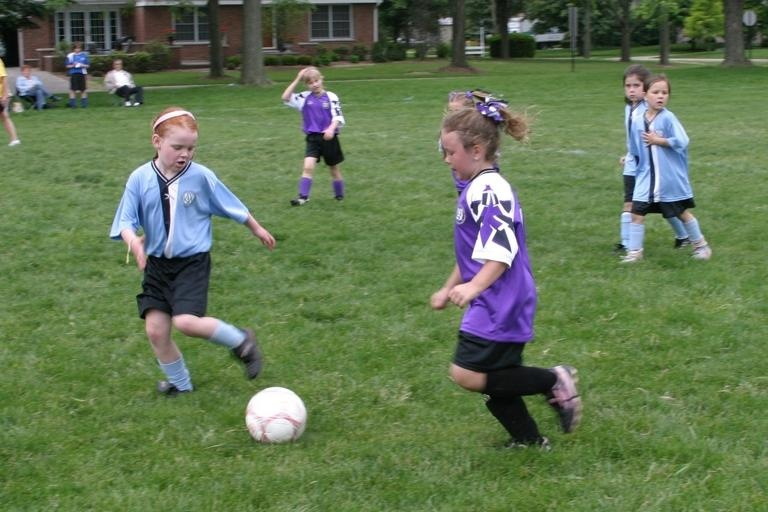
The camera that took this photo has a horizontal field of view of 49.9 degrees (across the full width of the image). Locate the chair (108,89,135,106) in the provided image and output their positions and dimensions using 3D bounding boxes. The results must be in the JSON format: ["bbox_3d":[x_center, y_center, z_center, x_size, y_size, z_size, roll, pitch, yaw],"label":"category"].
[{"bbox_3d":[-5.906,-3.611,18.669,0.431,0.448,0.450,-5,13,-16],"label":"chair"}]

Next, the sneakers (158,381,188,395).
[{"bbox_3d":[-1.575,1.003,6.245,0.255,0.070,0.079,-1,19,-1],"label":"sneakers"}]

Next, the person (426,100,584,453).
[{"bbox_3d":[0.777,0.110,5.548,0.987,2.406,0.698,-6,15,-17],"label":"person"}]

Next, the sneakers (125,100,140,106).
[{"bbox_3d":[-5.745,-3.483,18.844,0.356,0.103,0.132,-2,2,30],"label":"sneakers"}]

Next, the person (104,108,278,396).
[{"bbox_3d":[-1.471,-0.029,6.202,0.902,2.137,0.542,-12,18,-36],"label":"person"}]

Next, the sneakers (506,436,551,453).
[{"bbox_3d":[0.980,1.292,5.656,0.221,0.051,0.127,-1,-4,-1],"label":"sneakers"}]

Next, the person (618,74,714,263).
[{"bbox_3d":[2.854,-0.872,8.274,0.824,1.875,0.526,2,15,13],"label":"person"}]
